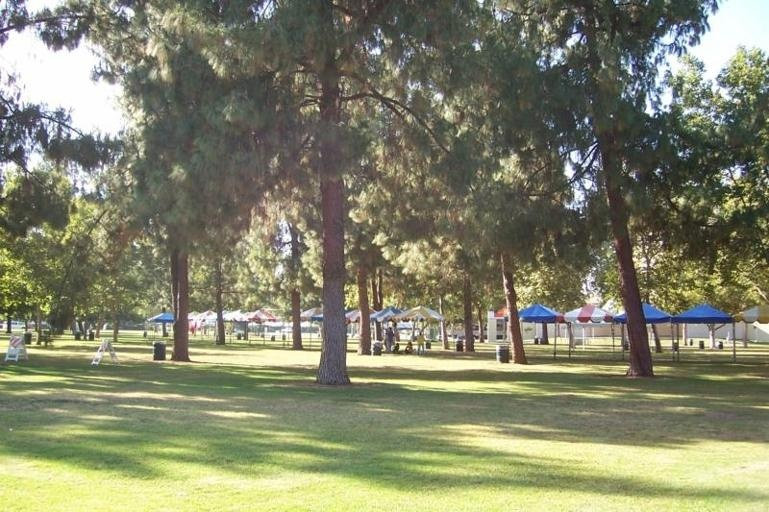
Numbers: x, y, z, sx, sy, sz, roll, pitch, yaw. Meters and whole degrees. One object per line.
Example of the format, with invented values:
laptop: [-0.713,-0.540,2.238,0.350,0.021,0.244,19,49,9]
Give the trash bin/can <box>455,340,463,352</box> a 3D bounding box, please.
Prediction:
trash bin/can: [5.275,6.395,60.177,0.526,0.997,0.614,0,-1,17]

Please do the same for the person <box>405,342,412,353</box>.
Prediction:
person: [1.625,6.141,56.853,0.526,1.066,0.633,-3,-5,29]

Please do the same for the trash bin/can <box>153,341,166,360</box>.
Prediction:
trash bin/can: [-11.434,4.884,43.629,0.742,1.042,0.849,0,-9,-5]

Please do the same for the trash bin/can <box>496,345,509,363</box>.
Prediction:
trash bin/can: [6.354,5.284,45.710,0.651,0.879,0.744,0,-7,-2]
